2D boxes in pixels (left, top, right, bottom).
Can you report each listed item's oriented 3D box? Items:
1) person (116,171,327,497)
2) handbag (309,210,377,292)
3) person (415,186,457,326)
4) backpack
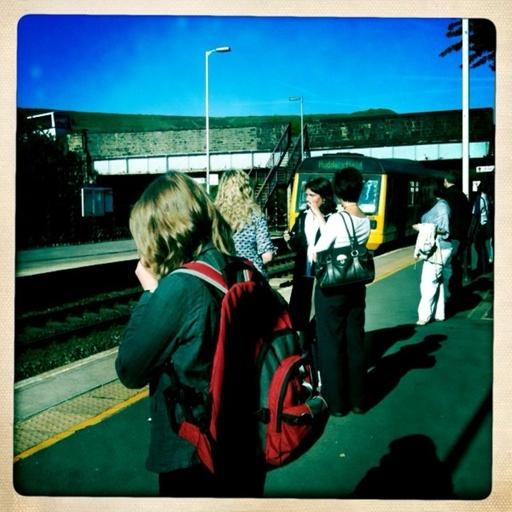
[{"bbox_3d":[-0.150,0.340,2.276,0.784,1.385,0.421,-1,5,5],"label":"person"},{"bbox_3d":[0.649,-0.096,4.187,0.425,0.656,0.212,-9,39,5],"label":"handbag"},{"bbox_3d":[2.430,0.058,7.476,0.499,1.748,0.997,0,5,20],"label":"person"},{"bbox_3d":[-0.064,0.469,2.450,0.430,0.909,0.544,-1,2,-6],"label":"backpack"}]
